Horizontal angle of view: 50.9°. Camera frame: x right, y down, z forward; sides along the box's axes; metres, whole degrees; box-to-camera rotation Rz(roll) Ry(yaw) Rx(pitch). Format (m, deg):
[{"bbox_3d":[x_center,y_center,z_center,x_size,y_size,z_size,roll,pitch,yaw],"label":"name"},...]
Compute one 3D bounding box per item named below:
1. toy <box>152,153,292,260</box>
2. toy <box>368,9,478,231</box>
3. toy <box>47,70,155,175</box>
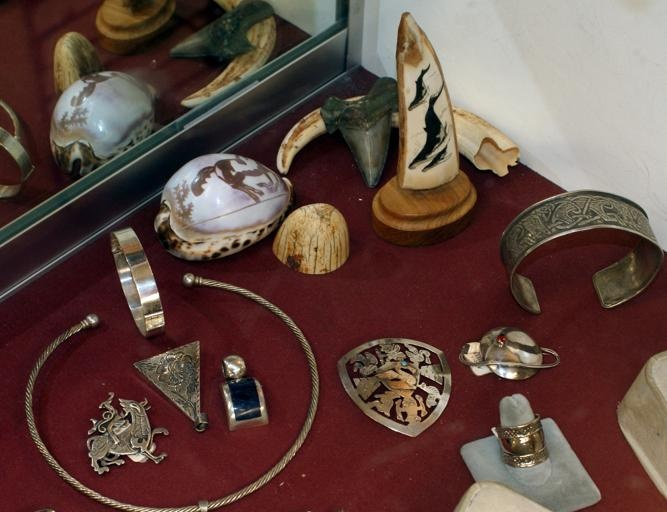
[{"bbox_3d":[-0.207,-0.095,1.316,0.263,0.134,0.148,-13,52,-6],"label":"toy"},{"bbox_3d":[0.178,-0.246,1.338,0.208,0.448,0.163,-25,48,-12],"label":"toy"},{"bbox_3d":[-0.441,-0.257,1.320,0.210,0.115,0.101,-34,57,-20],"label":"toy"}]
